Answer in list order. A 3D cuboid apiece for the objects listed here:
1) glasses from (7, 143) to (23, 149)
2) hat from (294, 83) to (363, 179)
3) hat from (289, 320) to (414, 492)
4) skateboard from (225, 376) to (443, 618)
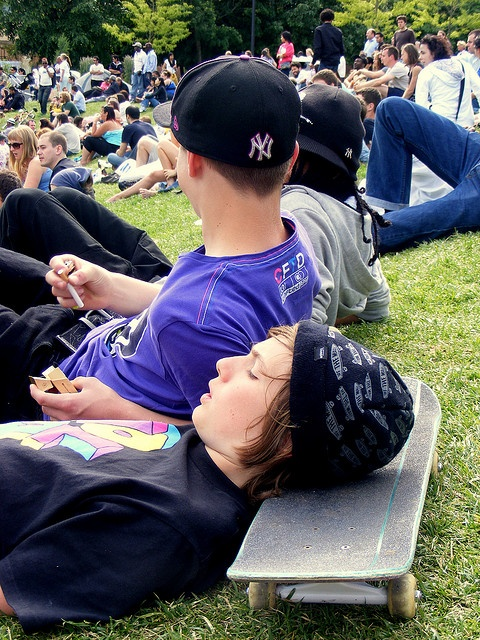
[{"bbox_3d":[-2.954,-2.284,8.455,0.119,0.035,0.119,2,-1,35],"label":"glasses"},{"bbox_3d":[0.410,-0.834,2.797,0.274,0.237,0.420,30,7,-9],"label":"hat"},{"bbox_3d":[0.209,0.189,1.628,0.420,0.281,0.289,14,18,2],"label":"hat"},{"bbox_3d":[0.335,0.452,1.719,0.380,0.201,1.225,-5,8,21],"label":"skateboard"}]
